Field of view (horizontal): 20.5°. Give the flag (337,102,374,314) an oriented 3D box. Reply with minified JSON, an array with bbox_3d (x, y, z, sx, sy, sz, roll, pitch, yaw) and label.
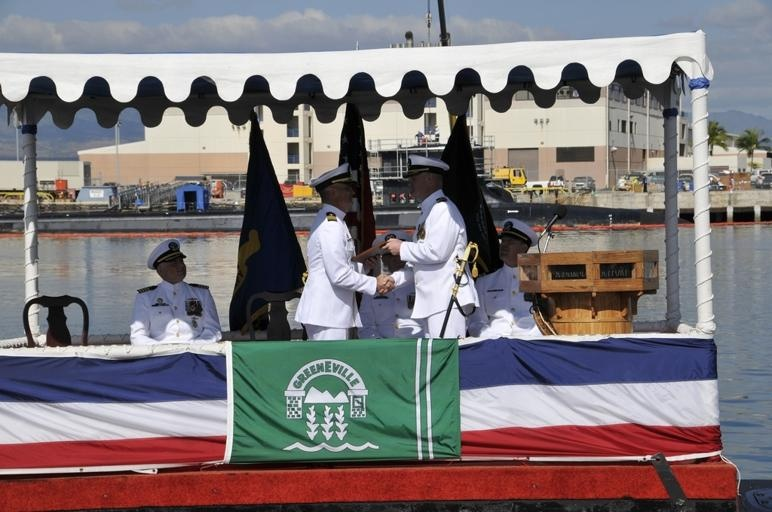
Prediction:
[{"bbox_3d":[-1.500,-2.769,89.502,2.055,7.336,1.882,0,-1,1],"label":"flag"}]

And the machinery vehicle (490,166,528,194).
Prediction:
[{"bbox_3d":[8.499,-5.343,141.119,2.637,1.490,1.718,0,2,24],"label":"machinery vehicle"}]

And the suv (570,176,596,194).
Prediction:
[{"bbox_3d":[13.590,-4.913,146.861,1.224,0.757,2.068,-1,-5,12],"label":"suv"}]
